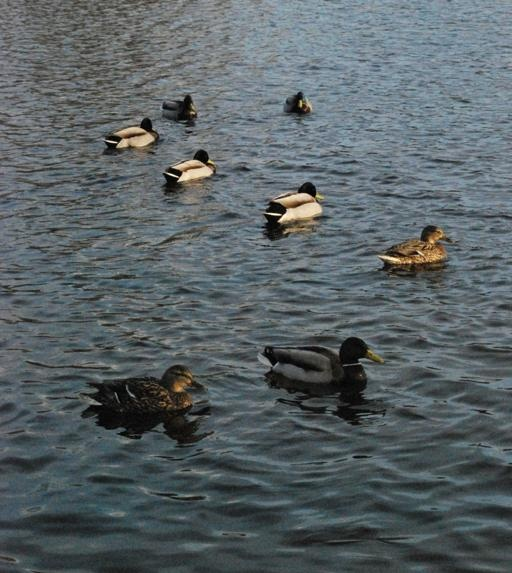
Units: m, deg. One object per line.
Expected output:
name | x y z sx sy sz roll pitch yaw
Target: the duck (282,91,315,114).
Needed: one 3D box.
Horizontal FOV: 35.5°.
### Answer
duck | 1.789 -8.116 34.969 1.271 1.024 0.882 -2 38 3
